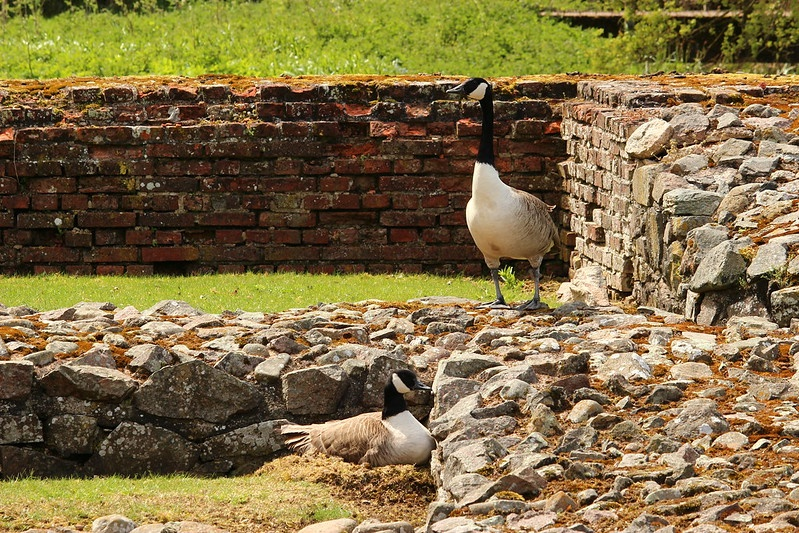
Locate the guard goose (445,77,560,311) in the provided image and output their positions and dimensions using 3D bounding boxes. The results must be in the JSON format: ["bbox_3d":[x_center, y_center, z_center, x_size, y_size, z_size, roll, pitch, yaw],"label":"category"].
[{"bbox_3d":[1.313,-0.955,27.317,1.369,2.772,1.448,3,14,0],"label":"guard goose"}]

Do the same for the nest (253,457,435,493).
[{"bbox_3d":[-0.584,2.434,25.331,2.075,0.256,0.507,5,14,9],"label":"nest"}]
